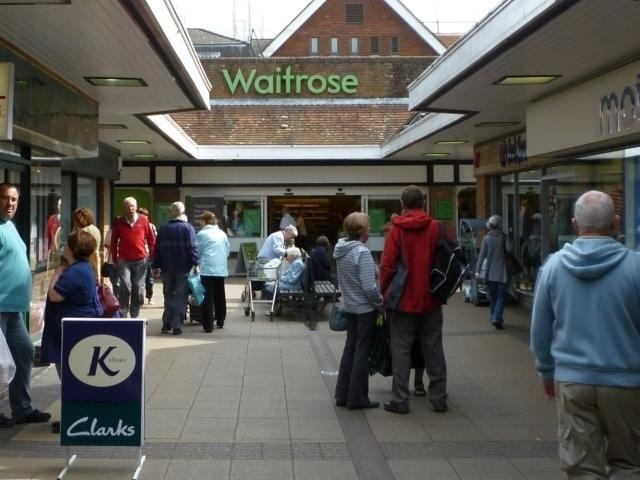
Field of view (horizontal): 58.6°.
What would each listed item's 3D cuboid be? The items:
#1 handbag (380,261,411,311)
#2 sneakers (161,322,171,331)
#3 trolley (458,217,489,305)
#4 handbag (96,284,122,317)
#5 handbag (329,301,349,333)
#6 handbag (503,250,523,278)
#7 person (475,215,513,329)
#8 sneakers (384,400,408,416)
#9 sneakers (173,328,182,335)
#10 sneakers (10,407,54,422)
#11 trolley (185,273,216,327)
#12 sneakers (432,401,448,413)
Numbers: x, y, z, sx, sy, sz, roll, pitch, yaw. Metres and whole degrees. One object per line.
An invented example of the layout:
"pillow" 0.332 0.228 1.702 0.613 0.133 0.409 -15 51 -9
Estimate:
"handbag" 0.767 0.476 5.830 0.138 0.439 0.309 15 1 17
"sneakers" -2.538 1.453 9.431 0.090 0.164 0.154 -5 -15 31
"trolley" 3.739 0.505 13.037 0.811 1.698 1.342 0 -8 25
"handbag" -2.039 0.602 5.506 0.181 0.324 0.349 -1 3 -22
"handbag" 0.210 0.851 6.385 0.165 0.376 0.264 7 -5 -8
"handbag" 3.365 0.415 9.972 0.271 0.481 0.327 1 2 19
"person" 3.045 0.554 9.944 0.470 1.922 0.647 0 2 2
"sneakers" 0.786 1.711 5.853 0.100 0.117 0.244 -1 6 -32
"sneakers" -2.305 1.505 9.257 0.067 0.152 0.149 -1 -8 5
"sneakers" -2.747 1.702 5.449 0.328 0.155 0.127 -1 1 -15
"trolley" -2.059 1.233 10.357 0.477 0.852 0.509 0 8 -9
"sneakers" 1.259 1.714 5.919 0.190 0.110 0.175 0 3 -9
